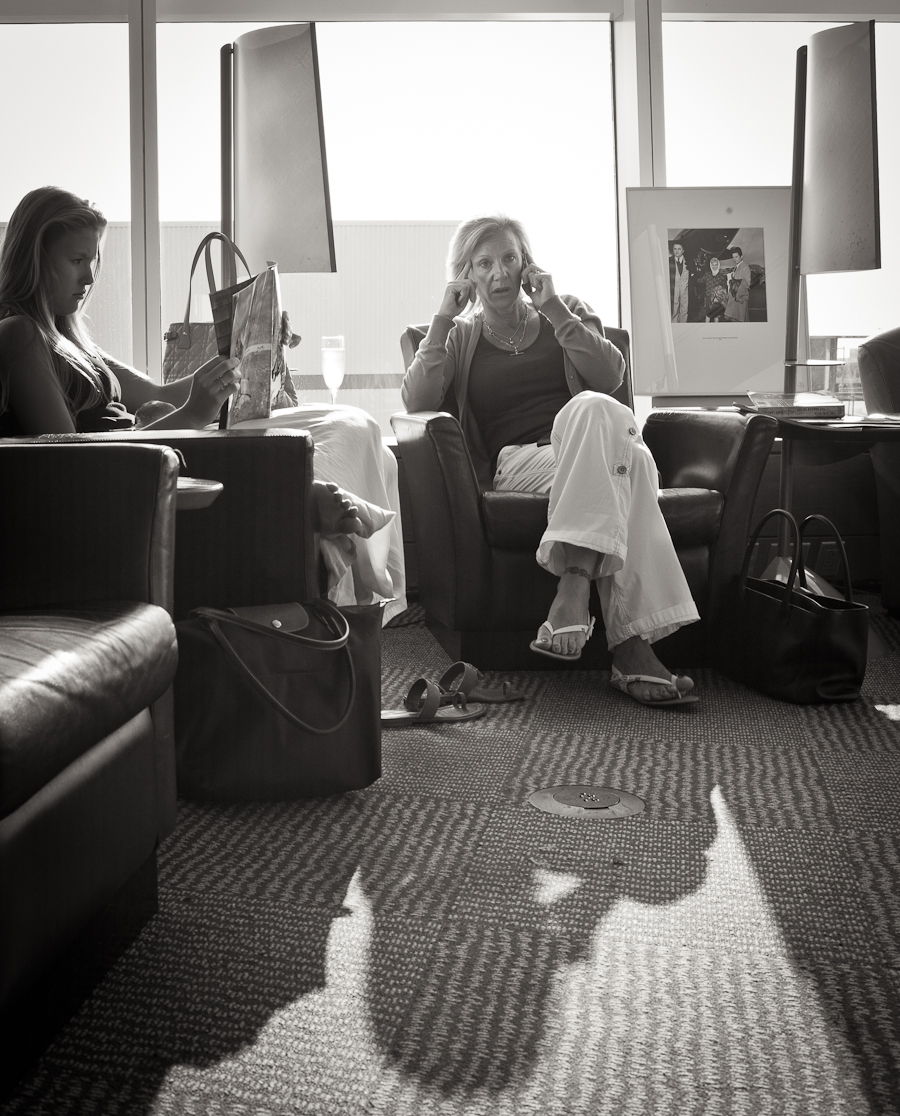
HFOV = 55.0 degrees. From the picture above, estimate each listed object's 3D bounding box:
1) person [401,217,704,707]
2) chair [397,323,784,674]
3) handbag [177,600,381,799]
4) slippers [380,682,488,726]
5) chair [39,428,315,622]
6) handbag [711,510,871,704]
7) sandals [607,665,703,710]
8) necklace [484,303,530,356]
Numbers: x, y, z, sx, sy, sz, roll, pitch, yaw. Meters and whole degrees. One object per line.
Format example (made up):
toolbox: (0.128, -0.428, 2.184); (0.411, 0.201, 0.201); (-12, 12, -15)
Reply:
person: (0.294, -0.331, 2.468); (0.491, 1.562, 0.696); (-7, -13, -16)
chair: (0.378, -0.214, 2.834); (1.052, 1.467, 1.292); (1, 3, 11)
handbag: (-0.259, 0.274, 1.523); (0.190, 0.402, 0.351); (-20, -16, 41)
slippers: (-0.033, 0.339, 1.989); (0.253, 0.110, 0.100); (-4, 7, -27)
chair: (-0.412, -0.068, 1.534); (0.258, 0.380, 0.305); (-1, 1, -17)
handbag: (0.860, 0.121, 2.195); (0.176, 0.492, 0.440); (4, 2, -13)
sandals: (0.491, 0.295, 2.102); (0.085, 0.051, 0.154); (-5, 6, -35)
necklace: (0.188, -0.713, 2.680); (0.099, 0.184, 0.060); (-8, 10, -5)
